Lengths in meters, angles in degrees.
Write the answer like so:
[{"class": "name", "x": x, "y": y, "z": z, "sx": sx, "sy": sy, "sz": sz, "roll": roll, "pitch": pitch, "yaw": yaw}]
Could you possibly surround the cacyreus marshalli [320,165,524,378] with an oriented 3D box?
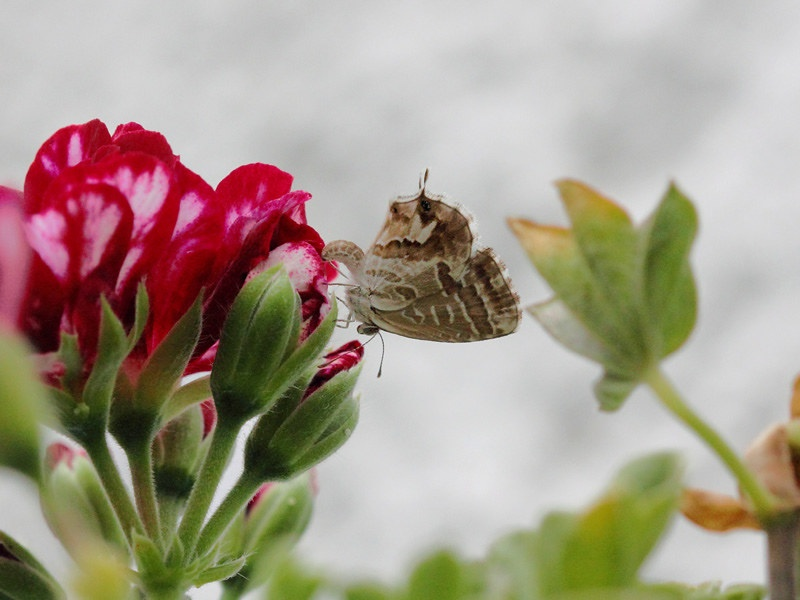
[{"class": "cacyreus marshalli", "x": -0.004, "y": 0.003, "z": 0.773, "sx": 0.160, "sy": 0.098, "sz": 0.103, "roll": -23, "pitch": -71, "yaw": 21}]
